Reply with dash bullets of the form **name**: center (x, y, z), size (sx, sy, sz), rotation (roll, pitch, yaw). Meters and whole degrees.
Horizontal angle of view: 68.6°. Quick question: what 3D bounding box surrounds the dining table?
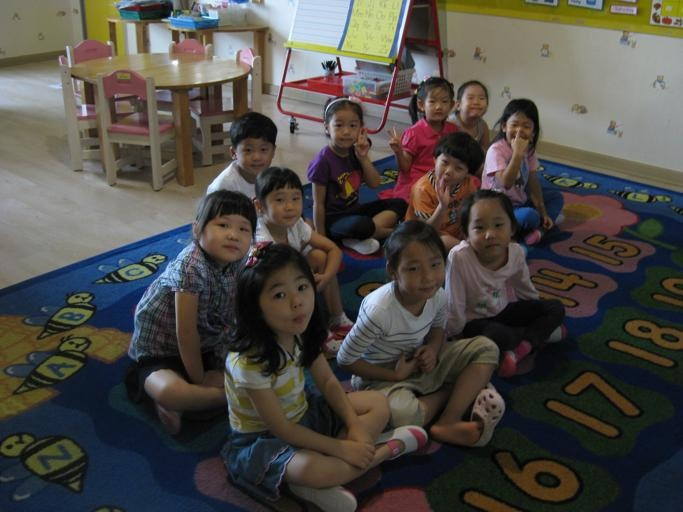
- **dining table**: center (-1.077, -1.022, 3.341), size (1.001, 0.600, 0.990), rotation (12, 31, 18)

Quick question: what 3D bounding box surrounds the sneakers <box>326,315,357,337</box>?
- **sneakers**: center (-0.001, 0.273, 1.949), size (0.127, 0.053, 0.045), rotation (5, -2, -21)

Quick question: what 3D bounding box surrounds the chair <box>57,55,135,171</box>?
- **chair**: center (-1.531, -0.899, 3.165), size (0.439, 0.817, 0.493), rotation (-10, 39, -22)

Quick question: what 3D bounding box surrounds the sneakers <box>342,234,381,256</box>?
- **sneakers**: center (0.103, -0.060, 2.453), size (0.155, 0.061, 0.091), rotation (11, 11, 43)

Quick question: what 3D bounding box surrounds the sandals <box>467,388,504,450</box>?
- **sandals**: center (0.405, 0.475, 1.458), size (0.043, 0.172, 0.088), rotation (-12, 40, -38)

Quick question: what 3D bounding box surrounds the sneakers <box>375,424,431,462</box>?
- **sneakers**: center (0.174, 0.517, 1.407), size (0.180, 0.068, 0.049), rotation (-17, 2, -12)
